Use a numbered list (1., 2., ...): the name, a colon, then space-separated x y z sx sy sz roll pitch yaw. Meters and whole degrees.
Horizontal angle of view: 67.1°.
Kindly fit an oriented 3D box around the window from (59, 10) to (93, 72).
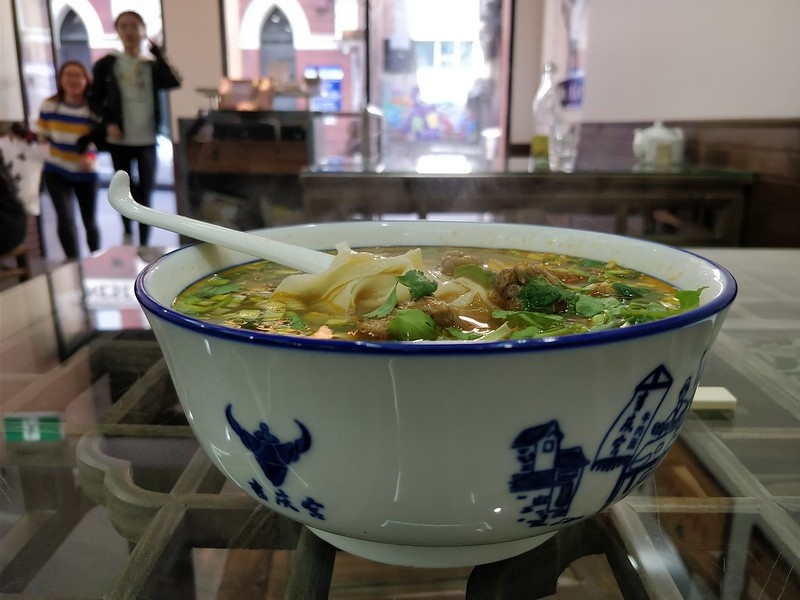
1. window: -3.409 -2.680 6.251 0.086 0.741 0.336 32 40 19

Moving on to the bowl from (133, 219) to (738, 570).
1. bowl: 0.024 0.073 0.644 0.571 0.248 0.458 5 19 20
